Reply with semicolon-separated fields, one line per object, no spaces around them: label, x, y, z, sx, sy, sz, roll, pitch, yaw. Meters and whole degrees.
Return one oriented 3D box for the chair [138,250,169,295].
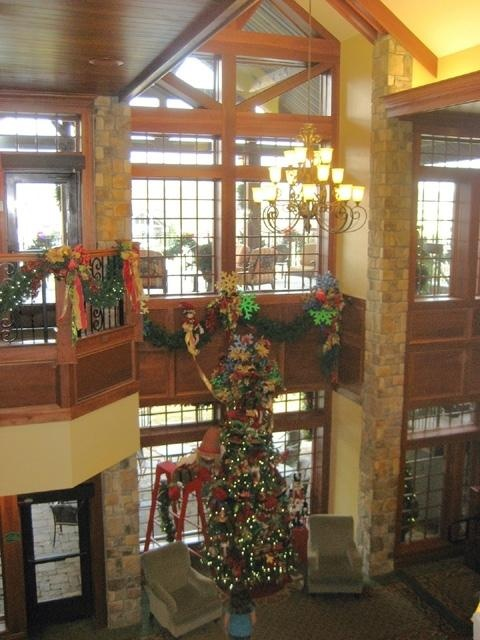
chair;-1.332;-0.777;8.895;0.638;0.688;0.561;-1;5;-9

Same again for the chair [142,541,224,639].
chair;-0.827;3.611;7.875;0.970;1.143;1.121;-5;0;-36

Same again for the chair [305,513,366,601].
chair;1.377;3.426;8.413;0.865;0.990;1.123;-1;-11;6

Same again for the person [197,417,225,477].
person;-0.417;1.883;8.387;0.403;0.711;0.432;7;15;15
